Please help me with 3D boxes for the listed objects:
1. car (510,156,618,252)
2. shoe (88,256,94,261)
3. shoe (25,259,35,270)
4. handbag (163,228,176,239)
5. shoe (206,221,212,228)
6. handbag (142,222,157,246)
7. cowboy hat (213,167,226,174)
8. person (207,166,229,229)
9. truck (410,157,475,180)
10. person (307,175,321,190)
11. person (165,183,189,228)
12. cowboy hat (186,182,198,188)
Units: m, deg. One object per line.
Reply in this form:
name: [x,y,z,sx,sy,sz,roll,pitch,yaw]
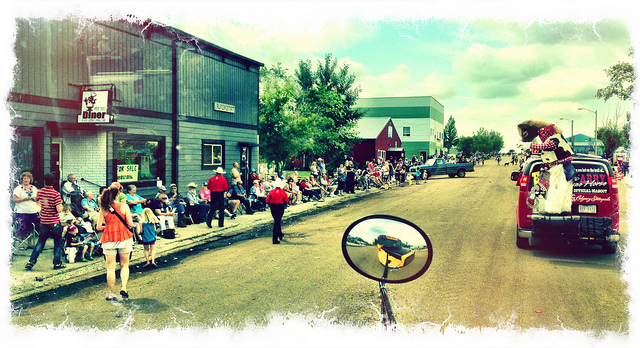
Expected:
car: [9.088,0.812,19.713,2.747,1.859,3.979,0,2,18]
shoe: [-7.948,2.901,18.689,0.180,0.133,0.126,-2,4,-22]
shoe: [-9.557,2.974,17.771,0.194,0.369,0.171,17,-33,-13]
handbag: [-5.845,2.294,20.923,0.444,0.344,0.301,-1,4,9]
shoe: [-4.656,2.120,22.751,0.179,0.244,0.227,-2,4,-13]
handbag: [-5.830,1.998,18.351,0.392,0.746,0.296,-2,4,-17]
cowboy hat: [-5.034,-0.206,26.834,0.394,0.121,0.357,10,-3,42]
person: [-4.407,0.982,23.343,1.020,2.453,0.862,1,-5,4]
truck: [10.332,-0.556,44.510,4.746,1.366,2.092,0,-3,-14]
person: [-0.345,0.468,30.415,0.300,0.720,0.556,-23,12,4]
person: [-6.050,1.334,22.984,0.878,1.765,1.165,-2,4,-14]
cowboy hat: [-5.777,0.476,24.089,0.427,0.189,0.494,1,-6,-33]
